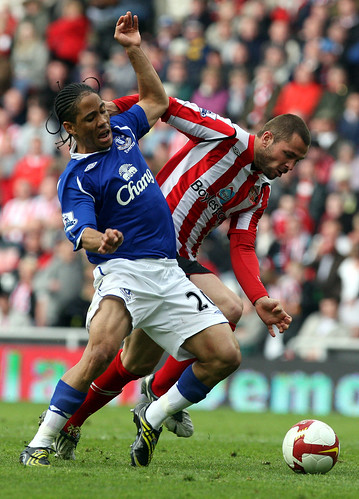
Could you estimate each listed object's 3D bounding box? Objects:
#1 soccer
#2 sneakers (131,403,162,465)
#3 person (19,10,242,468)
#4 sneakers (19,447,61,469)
[{"bbox_3d":[0.713,1.090,3.250,0.288,0.263,0.276,-8,18,-12],"label":"soccer"},{"bbox_3d":[-0.200,1.063,3.375,0.175,0.360,0.142,-16,-29,35],"label":"sneakers"},{"bbox_3d":[-0.302,-0.146,3.221,1.076,2.237,1.501,-2,19,7],"label":"person"},{"bbox_3d":[-0.721,1.052,3.021,0.085,0.073,0.179,5,0,13],"label":"sneakers"}]
